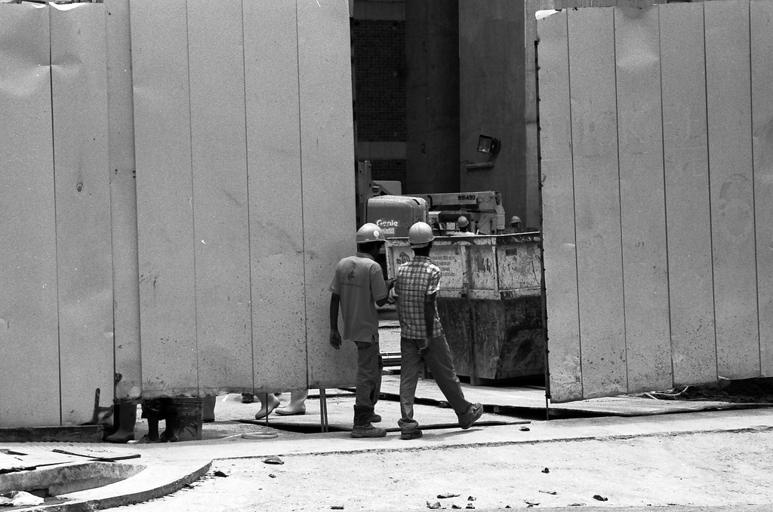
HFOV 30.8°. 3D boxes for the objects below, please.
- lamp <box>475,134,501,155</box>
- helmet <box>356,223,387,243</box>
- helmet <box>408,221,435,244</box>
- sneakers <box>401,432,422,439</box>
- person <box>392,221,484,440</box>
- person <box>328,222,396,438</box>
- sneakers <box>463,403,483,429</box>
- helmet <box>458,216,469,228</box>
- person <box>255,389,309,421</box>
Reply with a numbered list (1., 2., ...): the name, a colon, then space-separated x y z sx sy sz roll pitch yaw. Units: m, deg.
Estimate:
1. lamp: 2.528 -2.660 34.411 0.206 0.577 0.773 1 -7 -29
2. helmet: -0.175 -0.258 17.460 0.300 0.182 0.233 -3 5 -20
3. helmet: 0.463 -0.259 17.594 0.247 0.182 0.293 1 12 13
4. sneakers: 0.328 2.213 17.130 0.298 0.097 0.193 -1 -7 -12
5. person: 0.568 0.949 17.480 0.904 2.661 0.616 -3 -6 1
6. person: -0.317 0.945 17.290 0.752 2.630 0.460 -2 -6 -2
7. sneakers: 1.087 2.025 17.499 0.122 0.283 0.192 28 -19 38
8. helmet: 1.356 -0.513 24.370 0.187 0.133 0.239 -4 32 11
9. person: -1.398 2.052 19.146 0.869 0.580 0.358 6 -12 -40
